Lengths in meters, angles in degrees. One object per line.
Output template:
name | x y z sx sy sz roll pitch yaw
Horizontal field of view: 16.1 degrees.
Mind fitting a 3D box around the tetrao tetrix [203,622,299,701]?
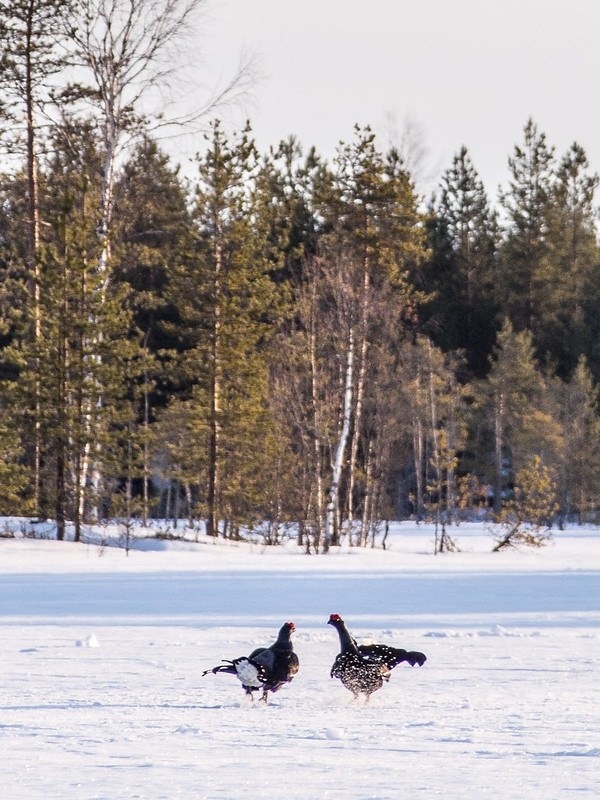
tetrao tetrix | -0.476 3.312 26.544 0.908 0.993 0.634 1 -6 -3

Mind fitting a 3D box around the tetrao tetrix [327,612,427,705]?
tetrao tetrix | 0.889 3.284 26.726 1.031 1.063 0.641 7 -9 -43
